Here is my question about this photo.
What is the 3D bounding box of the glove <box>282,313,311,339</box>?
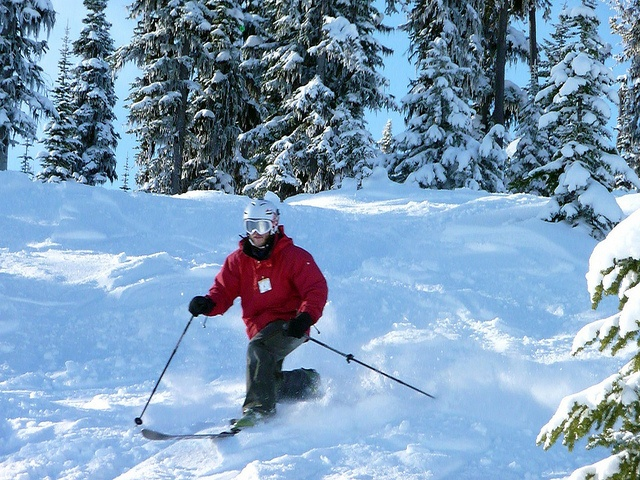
[{"bbox_3d":[-0.445,1.765,20.608,0.357,0.269,0.569,0,21,11],"label":"glove"}]
